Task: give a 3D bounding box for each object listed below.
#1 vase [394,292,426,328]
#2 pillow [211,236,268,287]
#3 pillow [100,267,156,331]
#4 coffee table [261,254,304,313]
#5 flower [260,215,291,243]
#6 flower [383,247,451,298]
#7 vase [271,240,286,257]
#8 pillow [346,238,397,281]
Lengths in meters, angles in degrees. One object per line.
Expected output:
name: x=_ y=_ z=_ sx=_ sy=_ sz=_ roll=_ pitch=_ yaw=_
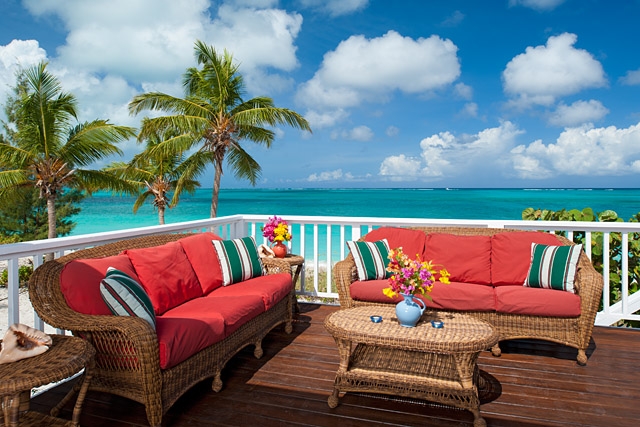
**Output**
vase: x=0.858 y=0.919 z=4.291 sx=0.324 sy=0.291 sz=0.249 roll=-1 pitch=-6 yaw=14
pillow: x=-0.951 y=0.571 z=5.281 sx=0.545 sy=0.395 sz=0.243 roll=-3 pitch=-10 yaw=-41
pillow: x=-1.724 y=0.711 z=4.171 sx=0.445 sy=0.559 sz=0.782 roll=-4 pitch=6 yaw=-20
coffee table: x=-0.417 y=0.880 z=5.811 sx=0.740 sy=0.753 sz=0.688 roll=-1 pitch=2 yaw=1
flower: x=-0.525 y=0.185 z=5.892 sx=0.372 sy=0.351 sz=0.360 roll=-9 pitch=10 yaw=-38
flower: x=0.855 y=0.533 z=4.532 sx=0.725 sy=0.481 sz=0.585 roll=-1 pitch=-2 yaw=35
vase: x=-0.517 y=0.443 z=5.862 sx=0.188 sy=0.224 sz=0.181 roll=-3 pitch=6 yaw=-22
pillow: x=0.591 y=0.535 z=5.369 sx=0.513 sy=0.440 sz=0.135 roll=-3 pitch=-25 yaw=-23
